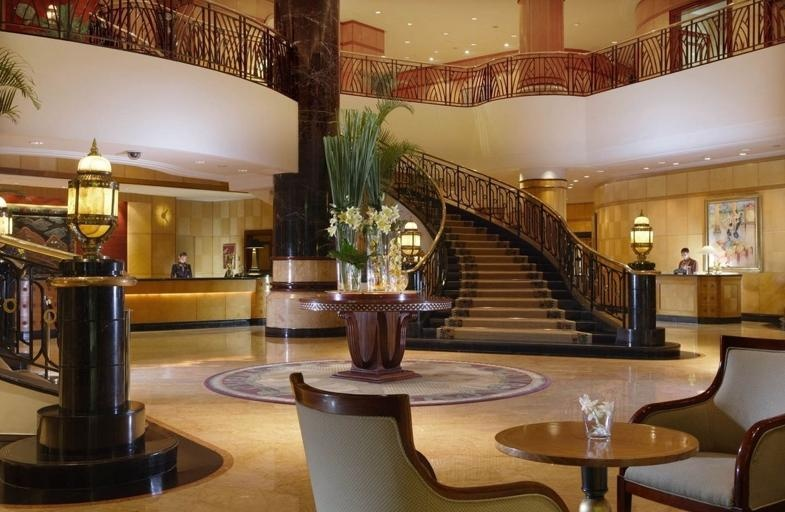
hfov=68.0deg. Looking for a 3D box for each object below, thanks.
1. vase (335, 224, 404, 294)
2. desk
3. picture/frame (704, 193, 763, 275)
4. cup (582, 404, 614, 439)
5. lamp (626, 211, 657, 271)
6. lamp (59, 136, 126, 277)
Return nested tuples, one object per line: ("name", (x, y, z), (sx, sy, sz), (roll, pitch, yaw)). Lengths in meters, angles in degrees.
("vase", (-0.211, 0.064, 7.610), (0.801, 0.874, 0.848), (-4, -4, 35))
("desk", (-0.170, 1.102, 7.688), (1.916, 0.991, 1.868), (-2, -9, 7))
("picture/frame", (8.406, -0.532, 14.281), (0.161, 1.802, 1.242), (-4, 2, -38))
("cup", (1.034, 0.833, 2.910), (0.168, 0.175, 0.165), (-1, -8, 0))
("lamp", (4.206, -0.255, 9.818), (0.458, 0.969, 0.458), (-1, 1, -40))
("lamp", (-2.403, -0.377, 4.570), (0.513, 1.126, 0.492), (3, 1, -32))
